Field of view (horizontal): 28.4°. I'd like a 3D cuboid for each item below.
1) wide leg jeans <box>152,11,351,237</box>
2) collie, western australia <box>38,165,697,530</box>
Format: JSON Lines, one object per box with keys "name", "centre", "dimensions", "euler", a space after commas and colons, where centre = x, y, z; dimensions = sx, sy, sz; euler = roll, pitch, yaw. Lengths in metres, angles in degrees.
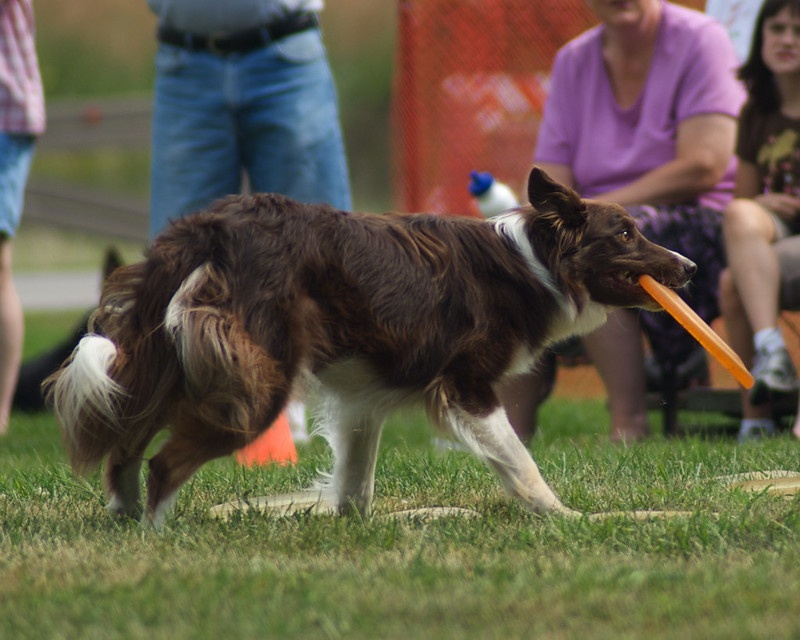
{"name": "wide leg jeans", "centre": [-0.826, -1.106, 8.542], "dimensions": [1.022, 1.381, 0.526], "euler": [2, 41, 1]}
{"name": "collie, western australia", "centre": [-0.092, 0.196, 7.450], "dimensions": [3.099, 1.580, 0.946], "euler": [-2, 5, -24]}
